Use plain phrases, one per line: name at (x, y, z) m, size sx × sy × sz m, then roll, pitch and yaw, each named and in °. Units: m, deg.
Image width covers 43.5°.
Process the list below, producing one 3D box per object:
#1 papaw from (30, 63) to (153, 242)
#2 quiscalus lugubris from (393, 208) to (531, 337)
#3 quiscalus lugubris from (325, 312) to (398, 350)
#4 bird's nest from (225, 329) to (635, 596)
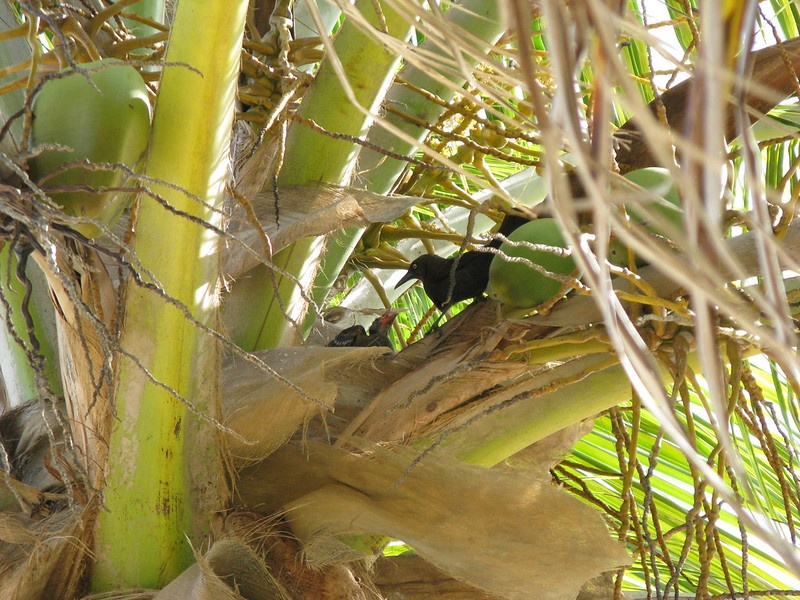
papaw at (-0.270, -0.129, 0.853) m, size 0.122 × 0.154 × 0.102 m, roll -10°, pitch -29°, yaw -3°
quiscalus lugubris at (0.082, -0.032, 1.117) m, size 0.187 × 0.074 × 0.060 m, roll -25°, pitch -23°, yaw 36°
quiscalus lugubris at (-0.040, 0.047, 1.223) m, size 0.077 × 0.036 × 0.042 m, roll -18°, pitch -52°, yaw 32°
bird's nest at (0.039, 0.156, 0.930) m, size 0.335 × 0.196 × 0.189 m, roll 18°, pitch 12°, yaw 31°
